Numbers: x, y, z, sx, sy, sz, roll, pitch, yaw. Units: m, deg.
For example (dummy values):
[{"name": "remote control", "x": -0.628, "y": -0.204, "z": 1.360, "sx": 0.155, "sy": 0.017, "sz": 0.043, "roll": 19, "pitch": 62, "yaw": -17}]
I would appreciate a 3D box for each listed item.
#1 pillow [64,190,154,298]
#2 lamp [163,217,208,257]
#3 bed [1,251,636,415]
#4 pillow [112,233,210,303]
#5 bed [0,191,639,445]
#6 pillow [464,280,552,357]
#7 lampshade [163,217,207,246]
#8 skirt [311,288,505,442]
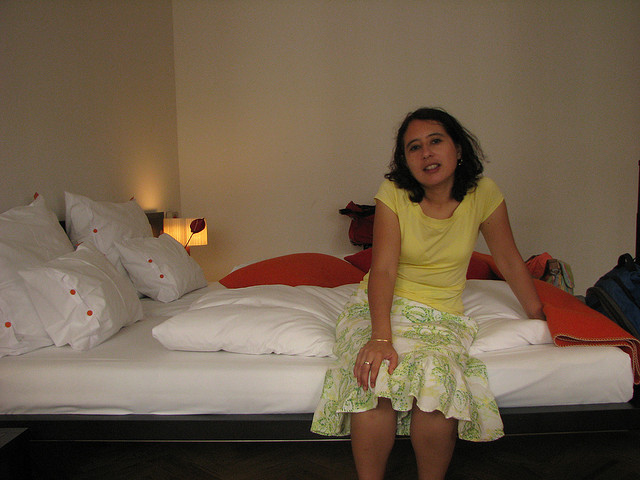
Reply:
[{"name": "pillow", "x": -1.354, "y": -0.029, "z": 3.187, "sx": 0.219, "sy": 0.498, "sz": 0.642, "roll": -11, "pitch": -5, "yaw": 16}, {"name": "lamp", "x": -1.141, "y": -0.033, "z": 4.137, "sx": 0.281, "sy": 0.343, "sz": 0.299, "roll": -1, "pitch": 6, "yaw": -6}, {"name": "bed", "x": -0.083, "y": 0.472, "z": 2.499, "sx": 2.630, "sy": 0.396, "sz": 1.026, "roll": 0, "pitch": 7, "yaw": 4}, {"name": "pillow", "x": -1.035, "y": 0.166, "z": 3.300, "sx": 0.355, "sy": 0.356, "sz": 0.837, "roll": 4, "pitch": 4, "yaw": 4}, {"name": "bed", "x": -0.181, "y": 0.457, "z": 2.374, "sx": 1.927, "sy": 0.756, "sz": 1.556, "roll": -2, "pitch": 7, "yaw": -5}, {"name": "pillow", "x": 0.804, "y": 0.409, "z": 2.451, "sx": 0.396, "sy": 0.133, "sz": 0.518, "roll": -4, "pitch": 2, "yaw": -14}, {"name": "lampshade", "x": -1.120, "y": -0.064, "z": 4.060, "sx": 0.237, "sy": 0.163, "sz": 0.243, "roll": -2, "pitch": 5, "yaw": -20}, {"name": "skirt", "x": 0.353, "y": 0.477, "z": 2.171, "sx": 0.660, "sy": 0.320, "sz": 0.905, "roll": -2, "pitch": 22, "yaw": 6}]
